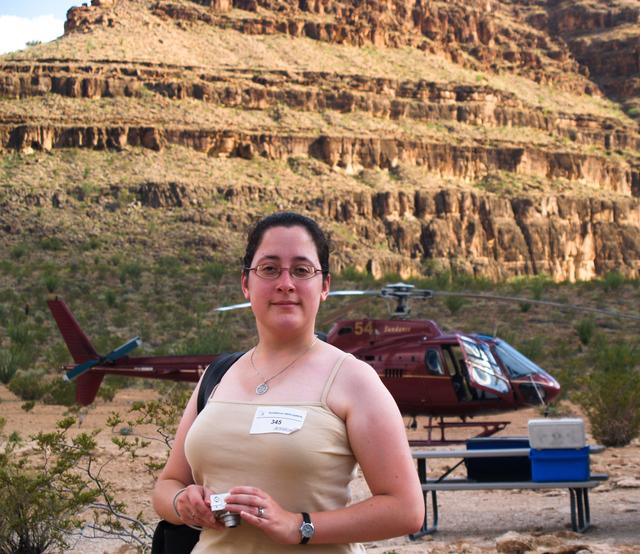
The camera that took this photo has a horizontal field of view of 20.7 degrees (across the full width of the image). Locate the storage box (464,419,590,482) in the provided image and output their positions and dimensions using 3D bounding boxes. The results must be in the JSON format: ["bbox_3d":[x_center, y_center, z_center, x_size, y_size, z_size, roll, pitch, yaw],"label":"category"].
[{"bbox_3d":[11.523,9.170,91.916,4.852,2.582,3.722,-1,-12,6],"label":"storage box"}]
